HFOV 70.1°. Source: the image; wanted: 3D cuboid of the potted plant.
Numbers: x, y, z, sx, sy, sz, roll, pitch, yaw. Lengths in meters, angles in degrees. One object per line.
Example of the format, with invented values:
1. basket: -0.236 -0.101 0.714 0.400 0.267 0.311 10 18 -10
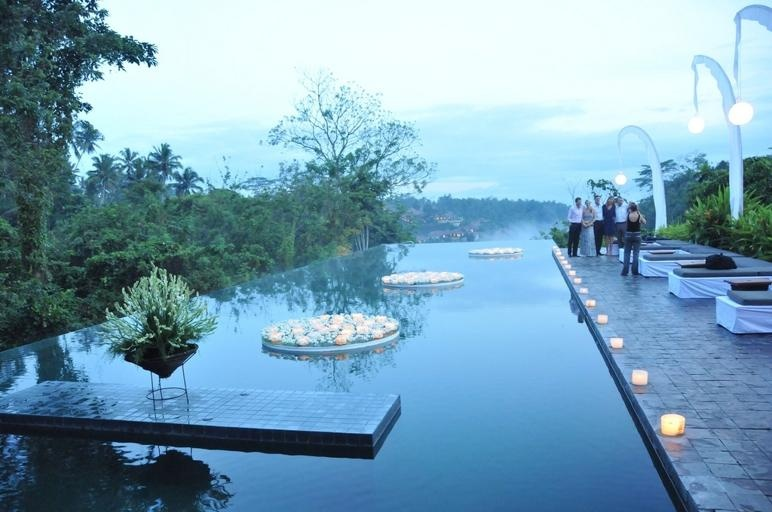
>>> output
1. potted plant: -3.326 1.096 7.971 1.300 2.034 1.413 -7 9 -28
